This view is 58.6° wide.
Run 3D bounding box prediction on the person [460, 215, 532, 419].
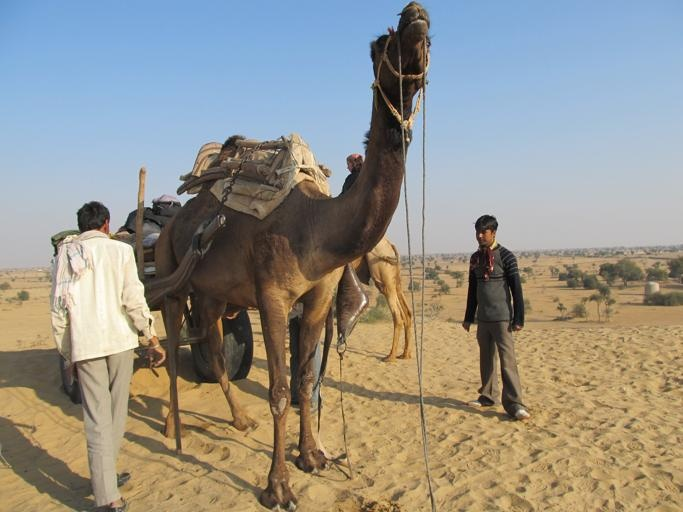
[{"bbox_3d":[2.355,0.891,9.412,0.611,2.953,1.218,1,-1,-41],"label":"person"}]
